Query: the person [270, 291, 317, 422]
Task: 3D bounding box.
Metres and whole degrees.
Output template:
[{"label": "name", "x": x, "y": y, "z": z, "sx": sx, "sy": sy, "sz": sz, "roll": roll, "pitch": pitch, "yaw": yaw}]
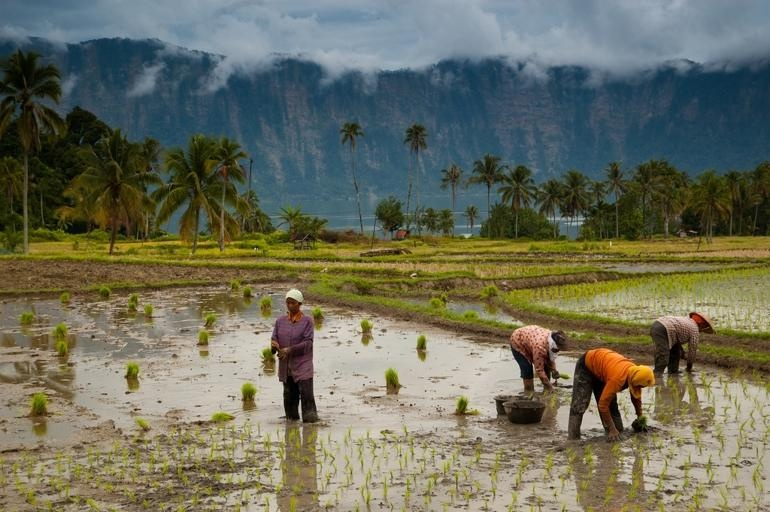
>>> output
[{"label": "person", "x": -2.851, "y": 3.109, "z": 28.282, "sx": 1.374, "sy": 4.126, "sz": 0.887, "roll": 0, "pitch": 3, "yaw": -8}]
